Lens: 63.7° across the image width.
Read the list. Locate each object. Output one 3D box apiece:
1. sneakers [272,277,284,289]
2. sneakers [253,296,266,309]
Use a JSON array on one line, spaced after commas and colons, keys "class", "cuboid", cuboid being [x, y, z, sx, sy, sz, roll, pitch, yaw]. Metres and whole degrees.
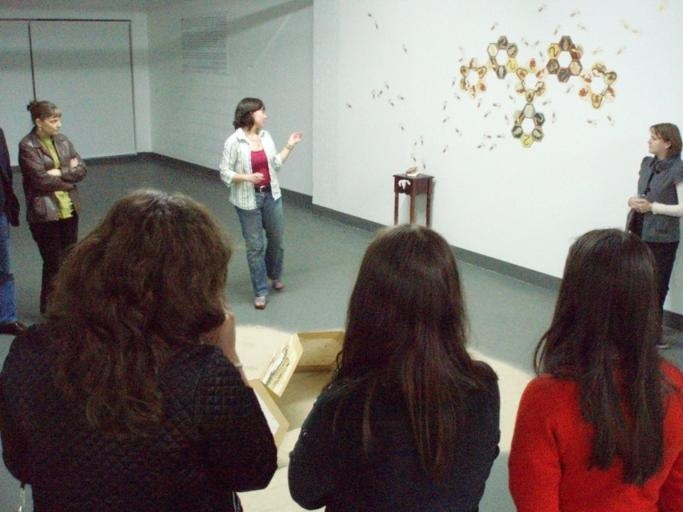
[{"class": "sneakers", "cuboid": [-0.632, 0.280, 5.413, 0.053, 0.068, 0.148, -27, 3, -20]}, {"class": "sneakers", "cuboid": [-0.740, 0.422, 4.976, 0.069, 0.057, 0.138, 1, 25, -3]}]
